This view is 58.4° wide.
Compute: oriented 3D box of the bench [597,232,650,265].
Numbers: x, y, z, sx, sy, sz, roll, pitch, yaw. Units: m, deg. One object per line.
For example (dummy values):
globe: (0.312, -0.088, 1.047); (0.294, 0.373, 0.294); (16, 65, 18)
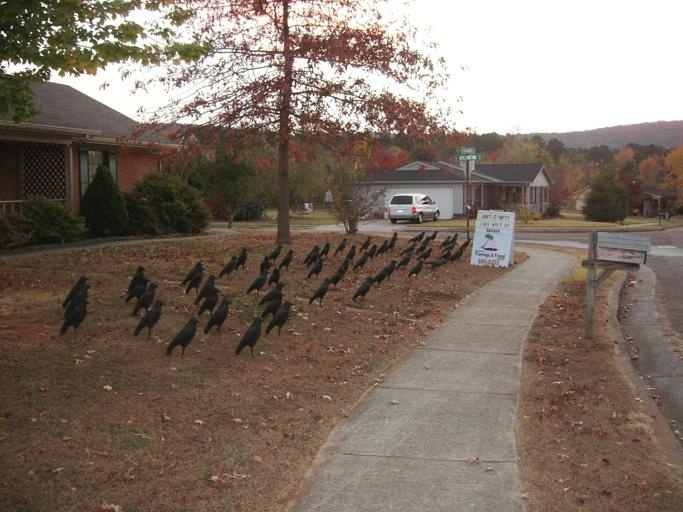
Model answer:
bench: (5.083, -0.212, 10.945); (0.872, 0.588, 0.922); (1, -1, 7)

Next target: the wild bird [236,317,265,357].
wild bird: (-1.485, 1.274, 9.797); (0.393, 0.630, 0.749); (0, 12, -5)

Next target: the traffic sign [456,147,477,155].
traffic sign: (5.008, -4.229, 24.368); (0.867, 0.359, 0.878); (-2, 10, -15)

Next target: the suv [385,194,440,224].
suv: (4.766, -3.157, 40.326); (1.696, 1.351, 3.272); (3, 10, 32)

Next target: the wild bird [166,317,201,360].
wild bird: (-2.472, 1.228, 9.434); (0.451, 0.614, 0.626); (0, 13, -9)
